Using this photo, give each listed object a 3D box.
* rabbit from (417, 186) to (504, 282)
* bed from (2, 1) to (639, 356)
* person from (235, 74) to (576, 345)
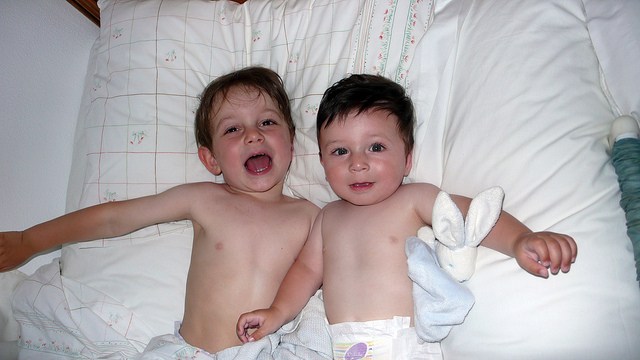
[{"bbox_3d":[0.595,0.241,2.048,0.388,0.458,0.248,-1,32,1],"label":"rabbit"},{"bbox_3d":[0.047,0.040,2.246,2.097,1.790,0.293,1,-2,10],"label":"bed"},{"bbox_3d":[0.417,0.159,2.130,1.166,0.850,0.383,-13,-28,24],"label":"person"}]
